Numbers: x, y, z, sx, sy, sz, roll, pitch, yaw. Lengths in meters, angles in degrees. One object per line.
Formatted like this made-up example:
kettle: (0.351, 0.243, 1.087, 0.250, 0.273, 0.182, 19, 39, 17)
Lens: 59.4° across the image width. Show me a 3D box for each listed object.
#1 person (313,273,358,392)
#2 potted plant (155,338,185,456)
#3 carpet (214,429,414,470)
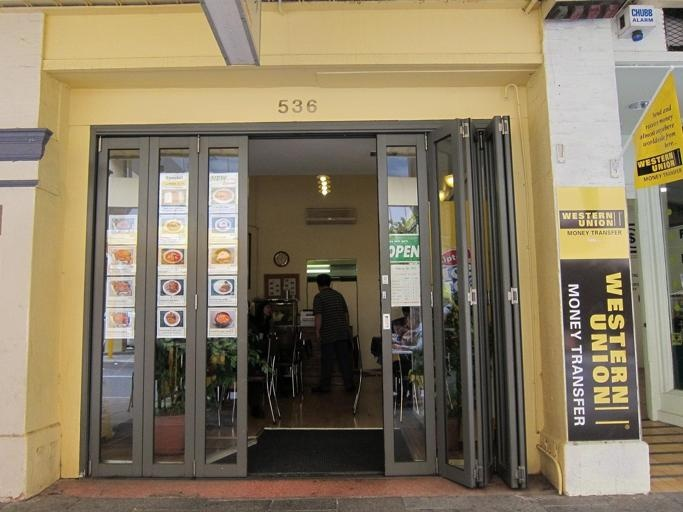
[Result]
person: (-0.113, 1.185, 9.049, 0.558, 1.863, 0.706, -1, 1, -1)
potted plant: (-1.695, 1.405, 5.867, 0.296, 1.174, 0.136, -1, 1, 0)
carpet: (-0.288, 2.065, 6.444, 1.463, 0.077, 1.221, -1, 2, 2)
